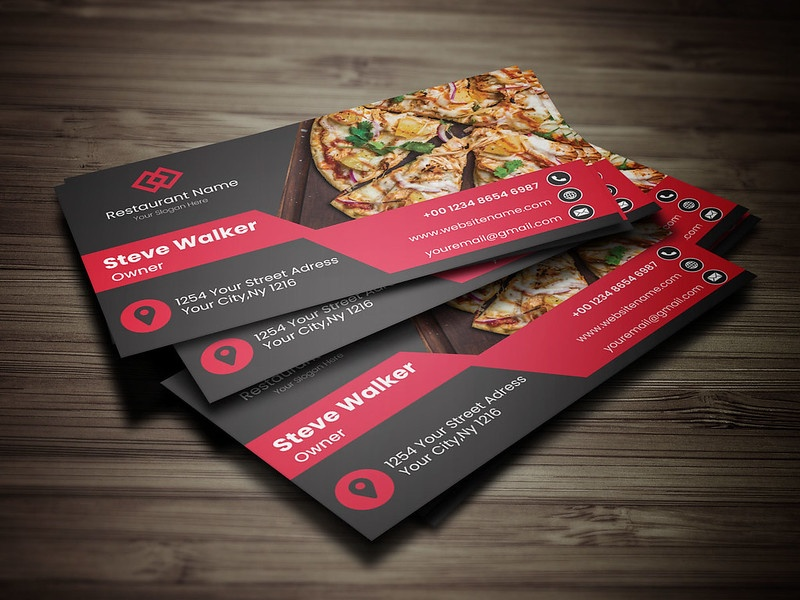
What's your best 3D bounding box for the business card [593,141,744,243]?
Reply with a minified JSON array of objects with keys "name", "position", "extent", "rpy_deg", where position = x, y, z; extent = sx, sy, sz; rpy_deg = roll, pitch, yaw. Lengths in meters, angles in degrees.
[{"name":"business card","position":[0.320,-0.126,0.839],"extent":[0.179,0.013,0.102],"rpy_deg":[28,47,22]}]
